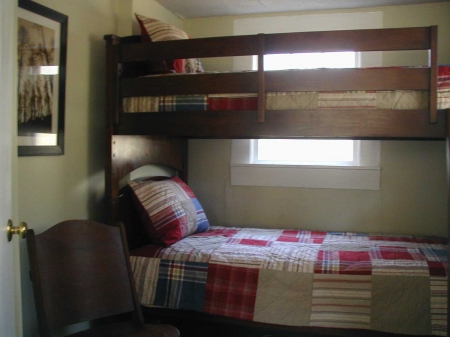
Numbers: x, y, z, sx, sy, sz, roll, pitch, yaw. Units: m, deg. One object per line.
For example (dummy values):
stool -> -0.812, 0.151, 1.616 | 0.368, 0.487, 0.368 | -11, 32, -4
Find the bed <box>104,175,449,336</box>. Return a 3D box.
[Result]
bed -> 0.483, 0.748, 3.189 | 1.901, 1.225, 1.128 | 2, 10, 16

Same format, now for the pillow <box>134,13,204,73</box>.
pillow -> -0.512, -1.124, 3.273 | 0.508, 0.128, 0.538 | 10, 19, -29
